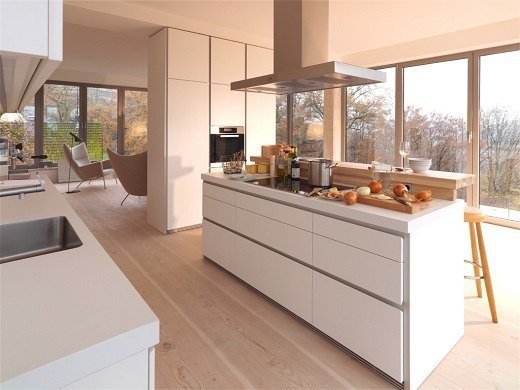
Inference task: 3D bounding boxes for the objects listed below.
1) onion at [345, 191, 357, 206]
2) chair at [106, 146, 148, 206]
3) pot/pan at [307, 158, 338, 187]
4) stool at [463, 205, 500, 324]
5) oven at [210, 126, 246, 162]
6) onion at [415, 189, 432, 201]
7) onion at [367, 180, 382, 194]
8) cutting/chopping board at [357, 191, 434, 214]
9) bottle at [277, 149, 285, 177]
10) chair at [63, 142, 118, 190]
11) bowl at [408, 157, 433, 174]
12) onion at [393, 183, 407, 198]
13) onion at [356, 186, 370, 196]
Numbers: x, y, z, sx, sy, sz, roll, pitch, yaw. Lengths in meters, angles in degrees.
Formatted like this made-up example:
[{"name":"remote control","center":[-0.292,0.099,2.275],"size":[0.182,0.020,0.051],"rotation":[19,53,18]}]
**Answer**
[{"name":"onion","center":[0.579,0.024,2.229],"size":[0.073,0.081,0.068],"rotation":[2,12,6]},{"name":"chair","center":[-2.142,-0.373,5.825],"size":[0.820,0.785,0.755],"rotation":[0,2,-22]},{"name":"pot/pan","center":[0.498,-0.201,2.860],"size":[0.201,0.235,0.319],"rotation":[-16,24,-31]},{"name":"stool","center":[1.772,0.505,2.789],"size":[0.312,0.811,0.672],"rotation":[7,14,30]},{"name":"oven","center":[-0.541,-0.800,5.217],"size":[0.559,0.545,0.350],"rotation":[-8,22,-27]},{"name":"onion","center":[1.021,-0.007,2.173],"size":[0.073,0.045,0.073],"rotation":[-7,-1,-7]},{"name":"onion","center":[0.784,-0.052,2.414],"size":[0.078,0.077,0.090],"rotation":[-10,-4,-27]},{"name":"cutting/chopping board","center":[0.856,0.037,2.218],"size":[0.267,0.063,0.397],"rotation":[-9,15,-39]},{"name":"bottle","center":[0.204,-0.307,3.296],"size":[0.087,0.261,0.151],"rotation":[1,12,3]},{"name":"chair","center":[-3.653,-0.682,7.500],"size":[0.899,0.848,0.706],"rotation":[1,12,5]},{"name":"bowl","center":[1.152,-0.221,2.520],"size":[0.154,0.104,0.189],"rotation":[5,13,24]},{"name":"onion","center":[0.891,-0.045,2.221],"size":[0.078,0.080,0.076],"rotation":[13,59,17]},{"name":"onion","center":[0.692,-0.028,2.296],"size":[0.064,0.040,0.062],"rotation":[-8,12,-30]}]
